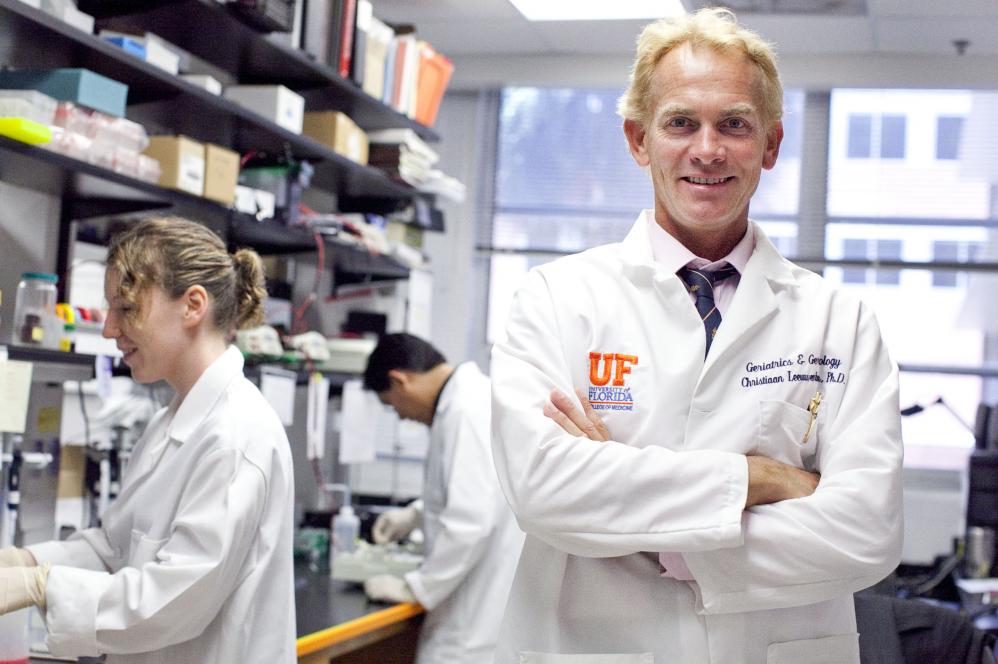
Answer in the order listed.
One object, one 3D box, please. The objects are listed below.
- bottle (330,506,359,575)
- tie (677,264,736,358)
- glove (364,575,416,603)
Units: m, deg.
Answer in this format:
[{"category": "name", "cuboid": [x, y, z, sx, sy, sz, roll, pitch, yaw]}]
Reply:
[{"category": "bottle", "cuboid": [-0.615, 0.836, 3.840, 0.118, 0.239, 0.358, 2, -5, -9]}, {"category": "tie", "cuboid": [0.517, -0.055, 2.420, 0.140, 0.224, 0.059, -18, -2, -21]}, {"category": "glove", "cuboid": [-0.377, 0.905, 3.368, 0.154, 0.089, 0.043, 3, -43, -17]}]
